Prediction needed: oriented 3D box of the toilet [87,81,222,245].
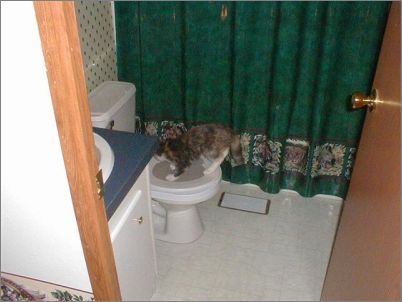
[{"bbox_3d":[-0.255,0.120,2.116,0.827,0.947,0.487,2,27,-6],"label":"toilet"}]
